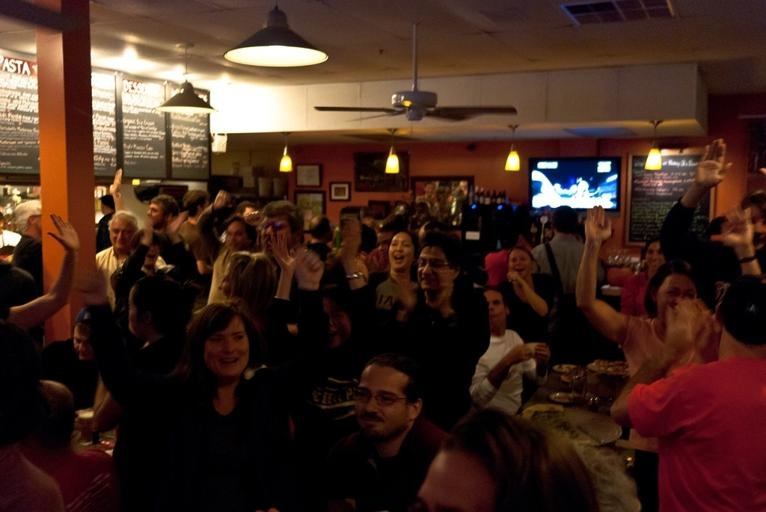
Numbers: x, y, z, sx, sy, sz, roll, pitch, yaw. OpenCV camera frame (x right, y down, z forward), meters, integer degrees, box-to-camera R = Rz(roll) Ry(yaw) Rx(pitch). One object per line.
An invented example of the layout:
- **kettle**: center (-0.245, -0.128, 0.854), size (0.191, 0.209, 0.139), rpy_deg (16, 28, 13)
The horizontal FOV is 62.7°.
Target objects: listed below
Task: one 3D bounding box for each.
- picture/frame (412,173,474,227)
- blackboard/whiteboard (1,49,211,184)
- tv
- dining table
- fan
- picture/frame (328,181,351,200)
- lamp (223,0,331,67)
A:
- **picture/frame**: center (0.940, -0.831, 9.330), size (1.076, 0.880, 0.105), rpy_deg (1, -15, 14)
- **blackboard/whiteboard**: center (-2.716, -1.384, 6.081), size (0.021, 0.578, 1.680), rpy_deg (-2, -1, 24)
- **tv**: center (2.631, -0.929, 8.381), size (1.207, 0.667, 0.080), rpy_deg (2, -3, 21)
- **dining table**: center (1.131, 0.794, 3.517), size (0.532, 0.184, 0.836), rpy_deg (3, 8, 24)
- **fan**: center (0.239, -1.635, 5.592), size (1.649, 0.802, 1.516), rpy_deg (4, 8, 28)
- **picture/frame**: center (-0.705, -1.110, 10.525), size (0.328, 0.264, 0.025), rpy_deg (3, -1, 14)
- **lamp**: center (-0.655, -1.360, 3.834), size (0.494, 0.363, 0.415), rpy_deg (-5, 10, -33)
